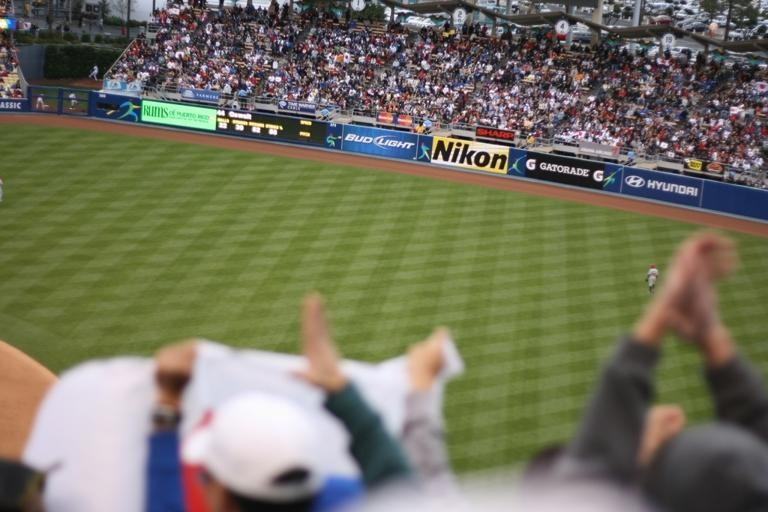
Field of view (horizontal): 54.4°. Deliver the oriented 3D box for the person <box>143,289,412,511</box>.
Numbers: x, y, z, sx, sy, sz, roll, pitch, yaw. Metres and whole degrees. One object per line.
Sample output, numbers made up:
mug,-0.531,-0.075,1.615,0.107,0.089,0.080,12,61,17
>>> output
person,-0.372,0.548,2.785,0.793,0.383,0.996,-1,41,-17
